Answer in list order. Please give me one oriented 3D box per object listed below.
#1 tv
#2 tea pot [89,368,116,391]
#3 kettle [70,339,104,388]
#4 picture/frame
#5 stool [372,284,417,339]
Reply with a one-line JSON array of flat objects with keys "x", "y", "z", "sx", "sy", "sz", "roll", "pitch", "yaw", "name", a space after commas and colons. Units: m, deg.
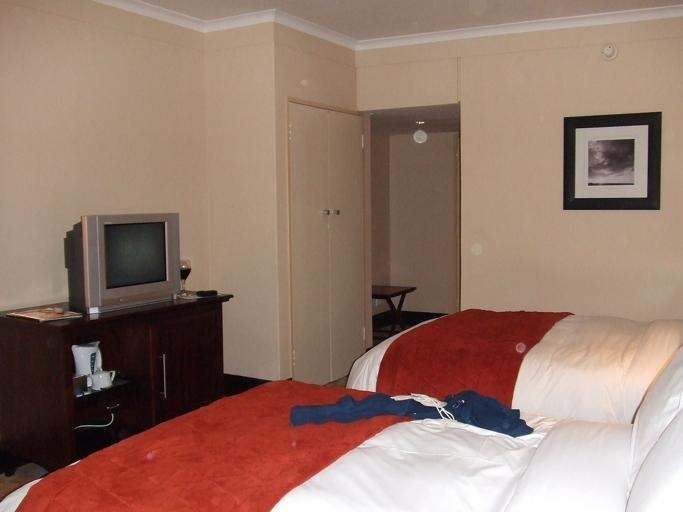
[{"x": -1.542, "y": 0.022, "z": 3.832, "sx": 0.482, "sy": 0.625, "sz": 0.695, "roll": 4, "pitch": 7, "yaw": 36, "name": "tv"}, {"x": -1.507, "y": 0.780, "z": 3.526, "sx": 0.085, "sy": 0.067, "sz": 0.118, "roll": -2, "pitch": -5, "yaw": 27, "name": "tea pot"}, {"x": -1.591, "y": 0.660, "z": 3.465, "sx": 0.257, "sy": 0.291, "sz": 0.163, "roll": -5, "pitch": 8, "yaw": -32, "name": "kettle"}, {"x": 2.312, "y": -0.814, "z": 4.655, "sx": 0.795, "sy": 0.905, "sz": 0.073, "roll": 1, "pitch": 5, "yaw": 23, "name": "picture/frame"}, {"x": 0.613, "y": 0.622, "z": 6.450, "sx": 0.539, "sy": 0.547, "sz": 0.556, "roll": 1, "pitch": 2, "yaw": 16, "name": "stool"}]
